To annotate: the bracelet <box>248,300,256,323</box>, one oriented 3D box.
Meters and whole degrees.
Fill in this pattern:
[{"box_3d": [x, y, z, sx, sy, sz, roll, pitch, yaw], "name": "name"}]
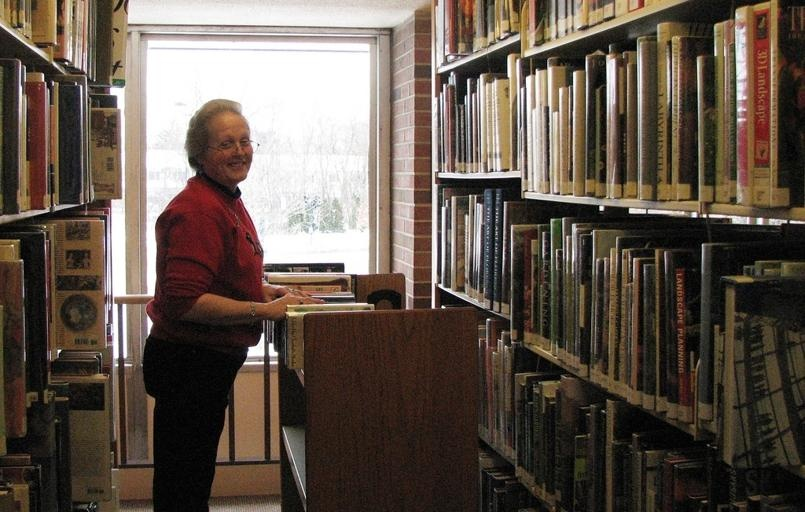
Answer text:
[{"box_3d": [-0.524, 0.197, 2.991, 0.019, 0.060, 0.020, 0, 1, -10], "name": "bracelet"}]
